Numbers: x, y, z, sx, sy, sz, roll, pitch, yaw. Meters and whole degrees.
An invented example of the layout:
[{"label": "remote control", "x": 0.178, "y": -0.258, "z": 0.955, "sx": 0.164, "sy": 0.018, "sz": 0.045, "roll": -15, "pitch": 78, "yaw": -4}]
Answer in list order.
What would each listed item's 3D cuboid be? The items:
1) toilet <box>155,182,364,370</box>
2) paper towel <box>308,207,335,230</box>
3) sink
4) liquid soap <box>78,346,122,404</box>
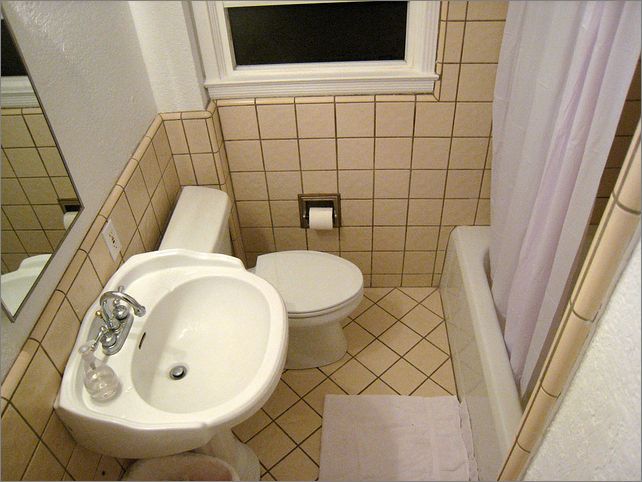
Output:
[{"label": "toilet", "x": -0.257, "y": 0.156, "z": 2.581, "sx": 0.894, "sy": 0.679, "sz": 0.853, "roll": 1, "pitch": 50, "yaw": -1}, {"label": "paper towel", "x": -0.003, "y": -0.117, "z": 2.584, "sx": 0.125, "sy": 0.112, "sz": 0.102, "roll": 0, "pitch": 23, "yaw": 3}, {"label": "sink", "x": -0.379, "y": 0.372, "z": 1.783, "sx": 0.388, "sy": 0.202, "sz": 0.514, "roll": 6, "pitch": 41, "yaw": -3}, {"label": "liquid soap", "x": -0.663, "y": 0.406, "z": 1.534, "sx": 0.085, "sy": 0.194, "sz": 0.088, "roll": -18, "pitch": 46, "yaw": -16}]
